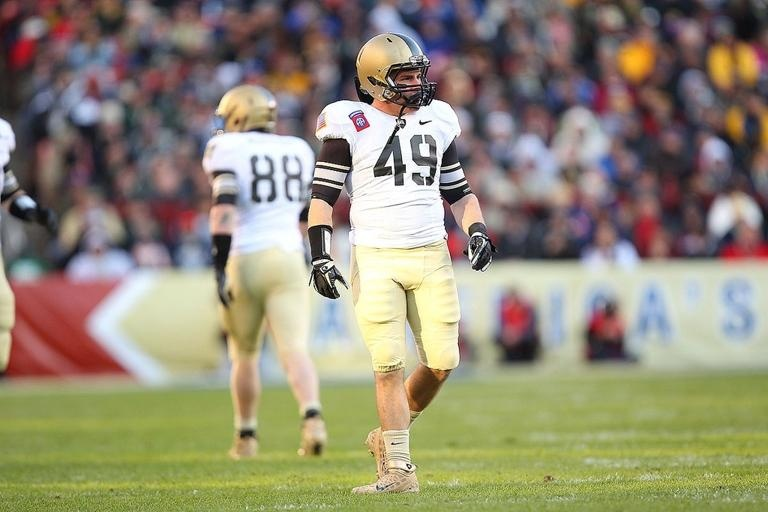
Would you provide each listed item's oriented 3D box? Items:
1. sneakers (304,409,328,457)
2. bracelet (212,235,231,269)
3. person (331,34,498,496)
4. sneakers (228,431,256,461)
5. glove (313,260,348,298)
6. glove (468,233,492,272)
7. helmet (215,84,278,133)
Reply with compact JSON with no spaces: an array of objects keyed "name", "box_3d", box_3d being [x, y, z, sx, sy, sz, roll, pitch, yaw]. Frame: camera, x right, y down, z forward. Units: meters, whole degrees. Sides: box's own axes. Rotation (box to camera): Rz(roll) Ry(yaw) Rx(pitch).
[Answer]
[{"name":"sneakers","box_3d":[-0.683,1.668,11.379,0.228,0.465,0.178,-4,5,-7]},{"name":"bracelet","box_3d":[-1.514,-0.064,11.196,0.176,0.309,0.131,-4,5,-8]},{"name":"person","box_3d":[0.256,0.001,10.142,1.095,3.822,0.881,-3,5,3]},{"name":"sneakers","box_3d":[-1.349,1.778,11.319,0.287,0.246,0.215,-4,5,-3]},{"name":"glove","box_3d":[-0.479,0.191,10.139,0.258,0.367,0.417,-4,5,-7]},{"name":"glove","box_3d":[0.804,-0.037,10.323,0.232,0.306,0.120,7,-10,-44]},{"name":"helmet","box_3d":[-1.296,-1.457,11.679,0.554,0.477,0.416,8,10,33]}]
